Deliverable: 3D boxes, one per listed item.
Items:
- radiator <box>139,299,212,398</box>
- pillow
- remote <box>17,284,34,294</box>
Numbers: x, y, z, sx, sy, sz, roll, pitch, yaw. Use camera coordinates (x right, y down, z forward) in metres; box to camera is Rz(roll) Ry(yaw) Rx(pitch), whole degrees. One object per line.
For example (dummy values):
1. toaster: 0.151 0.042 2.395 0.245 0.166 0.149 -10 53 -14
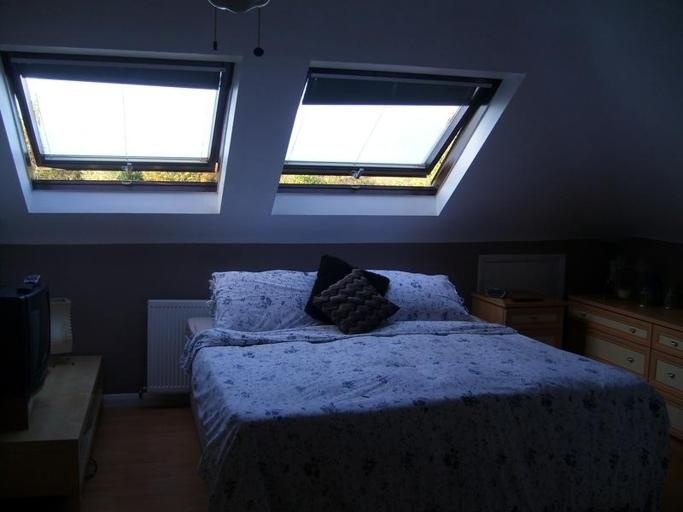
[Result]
1. radiator: -1.225 0.719 3.854 0.577 0.706 0.063 -2 -7 6
2. pillow: -0.136 0.313 3.661 1.864 0.418 0.799 5 4 -31
3. remote: -1.627 0.175 2.543 0.063 0.015 0.063 -2 8 -18
